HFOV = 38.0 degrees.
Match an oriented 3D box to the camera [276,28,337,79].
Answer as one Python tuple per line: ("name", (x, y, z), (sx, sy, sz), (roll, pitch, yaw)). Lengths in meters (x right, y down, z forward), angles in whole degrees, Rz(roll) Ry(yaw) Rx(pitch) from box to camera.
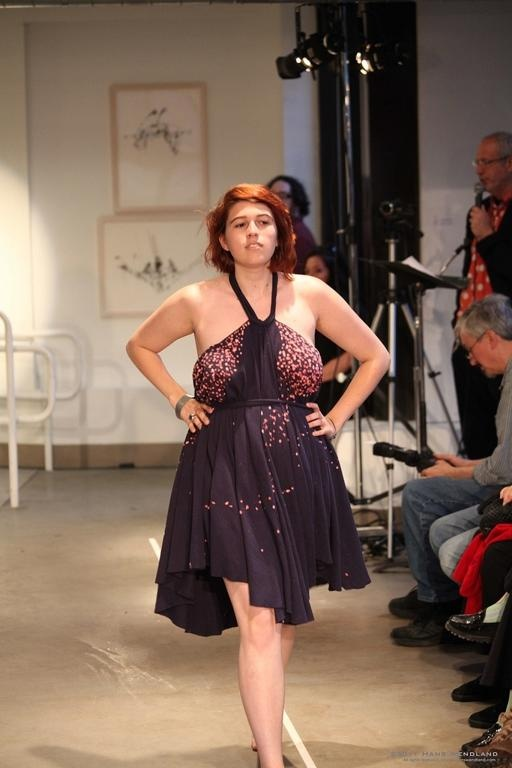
("camera", (0.310, -2.011, 4.451), (0.190, 0.251, 0.505), (0, 0, -29))

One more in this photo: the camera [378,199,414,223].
("camera", (0.662, -0.840, 3.567), (0.109, 0.054, 0.129), (0, 3, -15))

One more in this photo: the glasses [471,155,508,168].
("glasses", (1.123, -1.068, 3.530), (0.160, 0.059, 0.064), (0, 0, 19))

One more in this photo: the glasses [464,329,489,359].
("glasses", (0.711, -0.133, 2.397), (0.025, 0.076, 0.077), (19, -13, 11))

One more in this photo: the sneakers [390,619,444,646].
("sneakers", (0.523, 0.812, 2.427), (0.195, 0.075, 0.065), (1, 3, -2))

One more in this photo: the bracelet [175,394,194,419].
("bracelet", (-0.146, 0.045, 1.496), (0.028, 0.035, 0.040), (25, -9, 18))

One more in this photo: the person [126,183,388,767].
("person", (0.023, 0.129, 1.460), (0.518, 1.058, 0.417), (0, 0, -9))
